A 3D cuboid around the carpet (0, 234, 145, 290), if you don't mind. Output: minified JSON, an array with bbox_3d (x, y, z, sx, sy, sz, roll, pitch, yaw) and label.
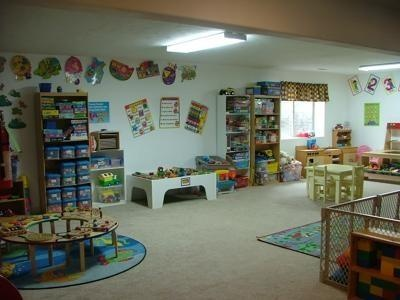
[{"bbox_3d":[-1.752,1.517,4.215,1.969,0.131,1.282,-1,7,-10],"label":"carpet"}]

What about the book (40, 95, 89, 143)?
[{"bbox_3d":[-2.809,-0.635,6.160,0.899,1.059,0.344,-5,7,-38],"label":"book"}]

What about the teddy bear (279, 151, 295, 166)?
[{"bbox_3d":[2.705,0.237,9.373,0.595,0.407,0.204,-3,7,-26],"label":"teddy bear"}]

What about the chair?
[{"bbox_3d":[3.235,0.768,7.234,1.019,0.680,1.042,3,6,38],"label":"chair"}]

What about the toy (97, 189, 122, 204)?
[{"bbox_3d":[-2.124,0.994,6.973,0.405,0.272,0.294,-1,1,-38],"label":"toy"}]

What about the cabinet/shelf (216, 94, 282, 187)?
[{"bbox_3d":[1.463,-0.296,8.816,1.970,2.568,0.698,-5,7,-34],"label":"cabinet/shelf"}]

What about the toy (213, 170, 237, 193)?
[{"bbox_3d":[0.612,0.790,7.786,0.590,0.575,0.337,-3,4,-39],"label":"toy"}]

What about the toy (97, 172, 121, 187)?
[{"bbox_3d":[-2.100,0.669,6.868,0.505,0.285,0.249,-2,7,-17],"label":"toy"}]
